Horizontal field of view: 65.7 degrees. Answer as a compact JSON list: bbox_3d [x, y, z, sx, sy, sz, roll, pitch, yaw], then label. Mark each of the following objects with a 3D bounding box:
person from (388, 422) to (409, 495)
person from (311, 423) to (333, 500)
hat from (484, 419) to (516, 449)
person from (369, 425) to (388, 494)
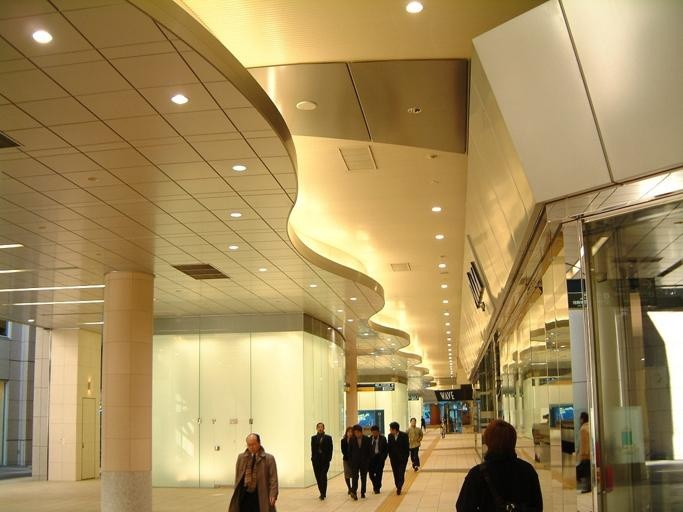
[{"bbox_3d":[1.642,5.899,15.527,0.602,1.945,1.452,-2,-15,4],"label":"person"},{"bbox_3d":[-0.601,5.775,15.018,0.562,1.960,1.350,0,-14,-3],"label":"person"},{"bbox_3d":[1.203,1.374,4.125,0.184,0.263,0.256,3,0,3],"label":"hat"},{"bbox_3d":[1.071,6.055,15.816,0.560,1.890,1.539,-2,-15,4],"label":"person"}]
